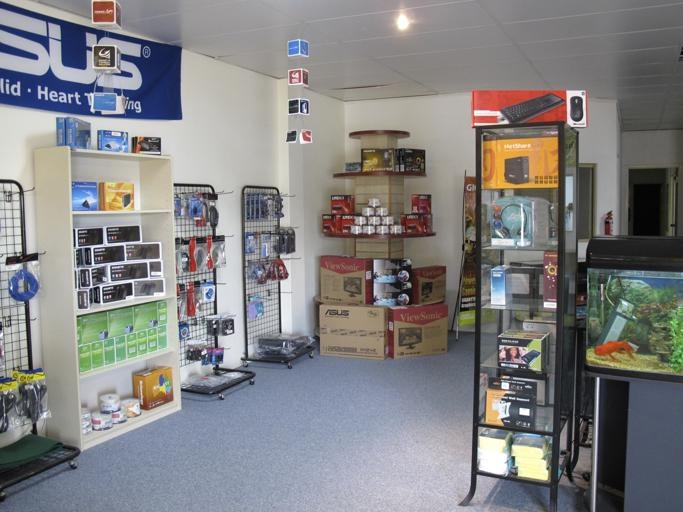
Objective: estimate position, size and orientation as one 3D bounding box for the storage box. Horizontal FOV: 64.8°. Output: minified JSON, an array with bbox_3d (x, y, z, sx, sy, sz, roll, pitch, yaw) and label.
[{"bbox_3d":[0.572,0.688,6.935,1.862,1.438,1.141,0,-2,12],"label":"storage box"}]

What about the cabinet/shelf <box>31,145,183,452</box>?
[{"bbox_3d":[-1.976,0.288,4.595,0.529,2.365,1.125,6,10,35],"label":"cabinet/shelf"}]

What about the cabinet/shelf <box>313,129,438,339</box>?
[{"bbox_3d":[0.345,-0.478,8.586,2.278,3.882,2.337,0,3,14],"label":"cabinet/shelf"}]

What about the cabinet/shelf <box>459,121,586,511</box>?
[{"bbox_3d":[1.088,0.418,3.419,0.586,2.475,0.260,2,8,16],"label":"cabinet/shelf"}]
